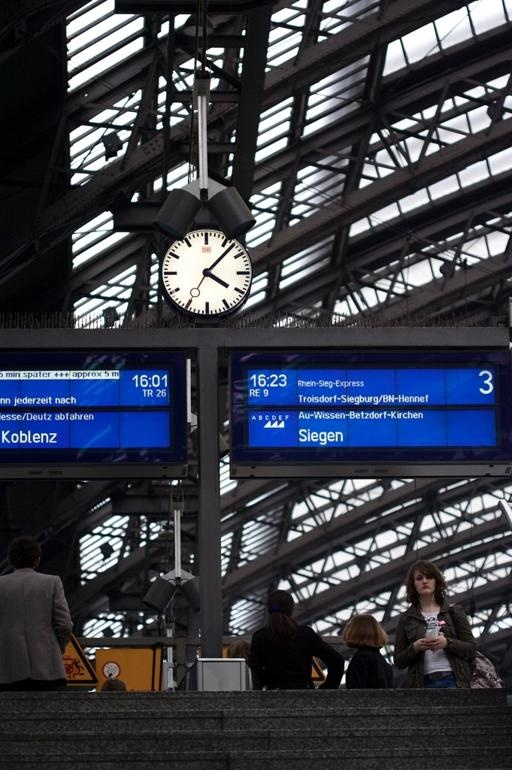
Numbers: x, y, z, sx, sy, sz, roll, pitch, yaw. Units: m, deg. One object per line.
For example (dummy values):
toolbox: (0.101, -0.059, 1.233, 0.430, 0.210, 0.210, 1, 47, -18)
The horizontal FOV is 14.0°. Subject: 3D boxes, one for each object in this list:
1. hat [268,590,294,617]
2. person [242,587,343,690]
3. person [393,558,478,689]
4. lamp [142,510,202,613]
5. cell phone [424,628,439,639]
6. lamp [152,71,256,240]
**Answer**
hat: (0.250, 1.953, 18.689, 0.249, 0.232, 0.357, 1, -34, 2)
person: (0.351, 2.234, 18.542, 0.845, 0.919, 0.510, -3, -11, 0)
person: (1.547, 2.055, 17.987, 0.713, 1.081, 0.415, -4, -11, 5)
lamp: (-1.241, 2.688, 33.725, 1.034, 0.394, 2.015, 0, -60, -3)
cell phone: (1.530, 2.109, 17.864, 0.082, 0.157, 0.016, 1, -34, 20)
lamp: (-0.541, -2.450, 21.341, 0.957, 1.980, 0.632, -1, -31, -2)
